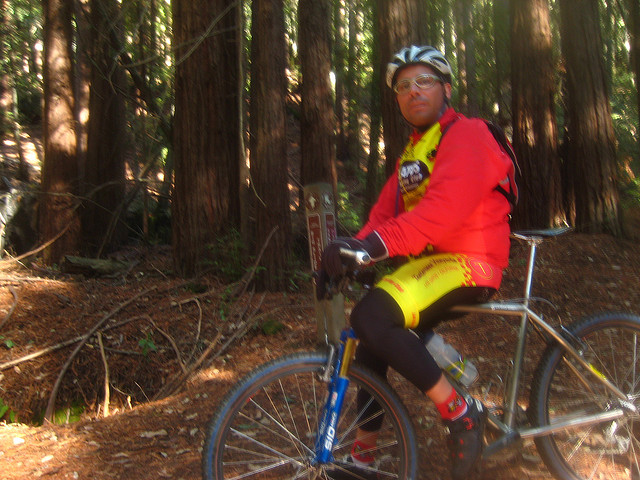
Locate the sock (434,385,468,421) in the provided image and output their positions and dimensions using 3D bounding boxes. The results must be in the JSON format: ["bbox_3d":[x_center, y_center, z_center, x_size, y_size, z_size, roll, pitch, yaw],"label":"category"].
[{"bbox_3d":[1.273,1.620,5.861,0.306,0.279,0.333,25,9,36],"label":"sock"}]

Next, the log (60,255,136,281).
[{"bbox_3d":[-4.234,0.507,11.266,0.793,0.344,0.699,6,6,20],"label":"log"}]
